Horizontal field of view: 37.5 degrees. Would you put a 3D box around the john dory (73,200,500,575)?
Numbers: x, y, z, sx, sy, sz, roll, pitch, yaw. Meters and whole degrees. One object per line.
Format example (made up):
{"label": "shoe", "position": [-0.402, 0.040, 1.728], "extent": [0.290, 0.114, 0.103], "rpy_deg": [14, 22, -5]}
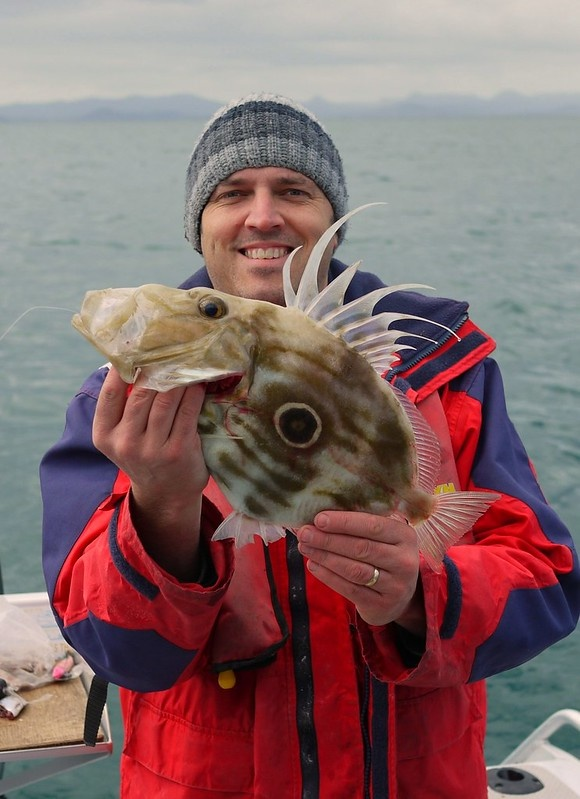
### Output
{"label": "john dory", "position": [-0.001, -0.027, 2.539], "extent": [1.428, 0.816, 1.068], "rpy_deg": [-3, 3, 41]}

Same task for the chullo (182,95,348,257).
{"label": "chullo", "position": [-0.088, -0.835, 3.202], "extent": [0.482, 0.393, 0.533], "rpy_deg": [1, -17, 1]}
